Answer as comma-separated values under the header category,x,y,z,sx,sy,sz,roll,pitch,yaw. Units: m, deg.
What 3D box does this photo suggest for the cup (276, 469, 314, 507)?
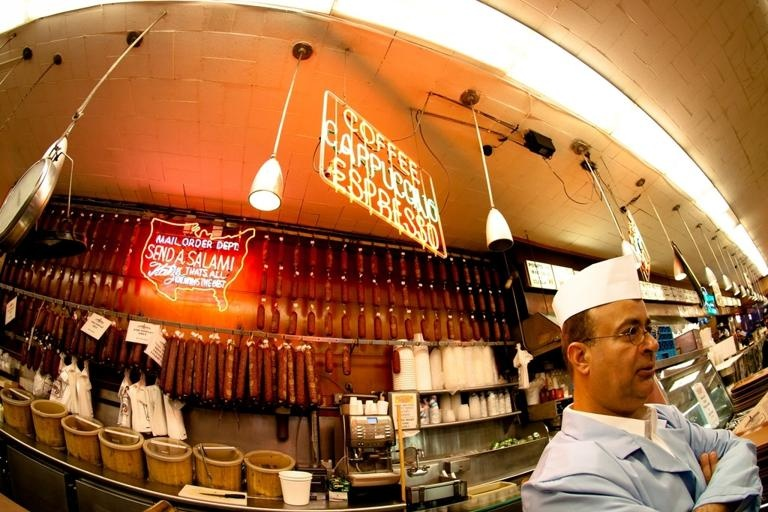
category,x,y,z,sx,sy,sz,roll,pitch,yaw
cup,-1.023,2.681,5.364,0.354,0.263,0.367,1,-20,0

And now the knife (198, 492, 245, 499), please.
category,x,y,z,sx,sy,sz,roll,pitch,yaw
knife,-1.865,2.712,5.236,0.368,0.040,0.052,6,-6,-1

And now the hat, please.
category,x,y,z,sx,sy,sz,roll,pitch,yaw
hat,1.714,0.293,3.781,0.660,0.281,0.531,-33,-24,29
